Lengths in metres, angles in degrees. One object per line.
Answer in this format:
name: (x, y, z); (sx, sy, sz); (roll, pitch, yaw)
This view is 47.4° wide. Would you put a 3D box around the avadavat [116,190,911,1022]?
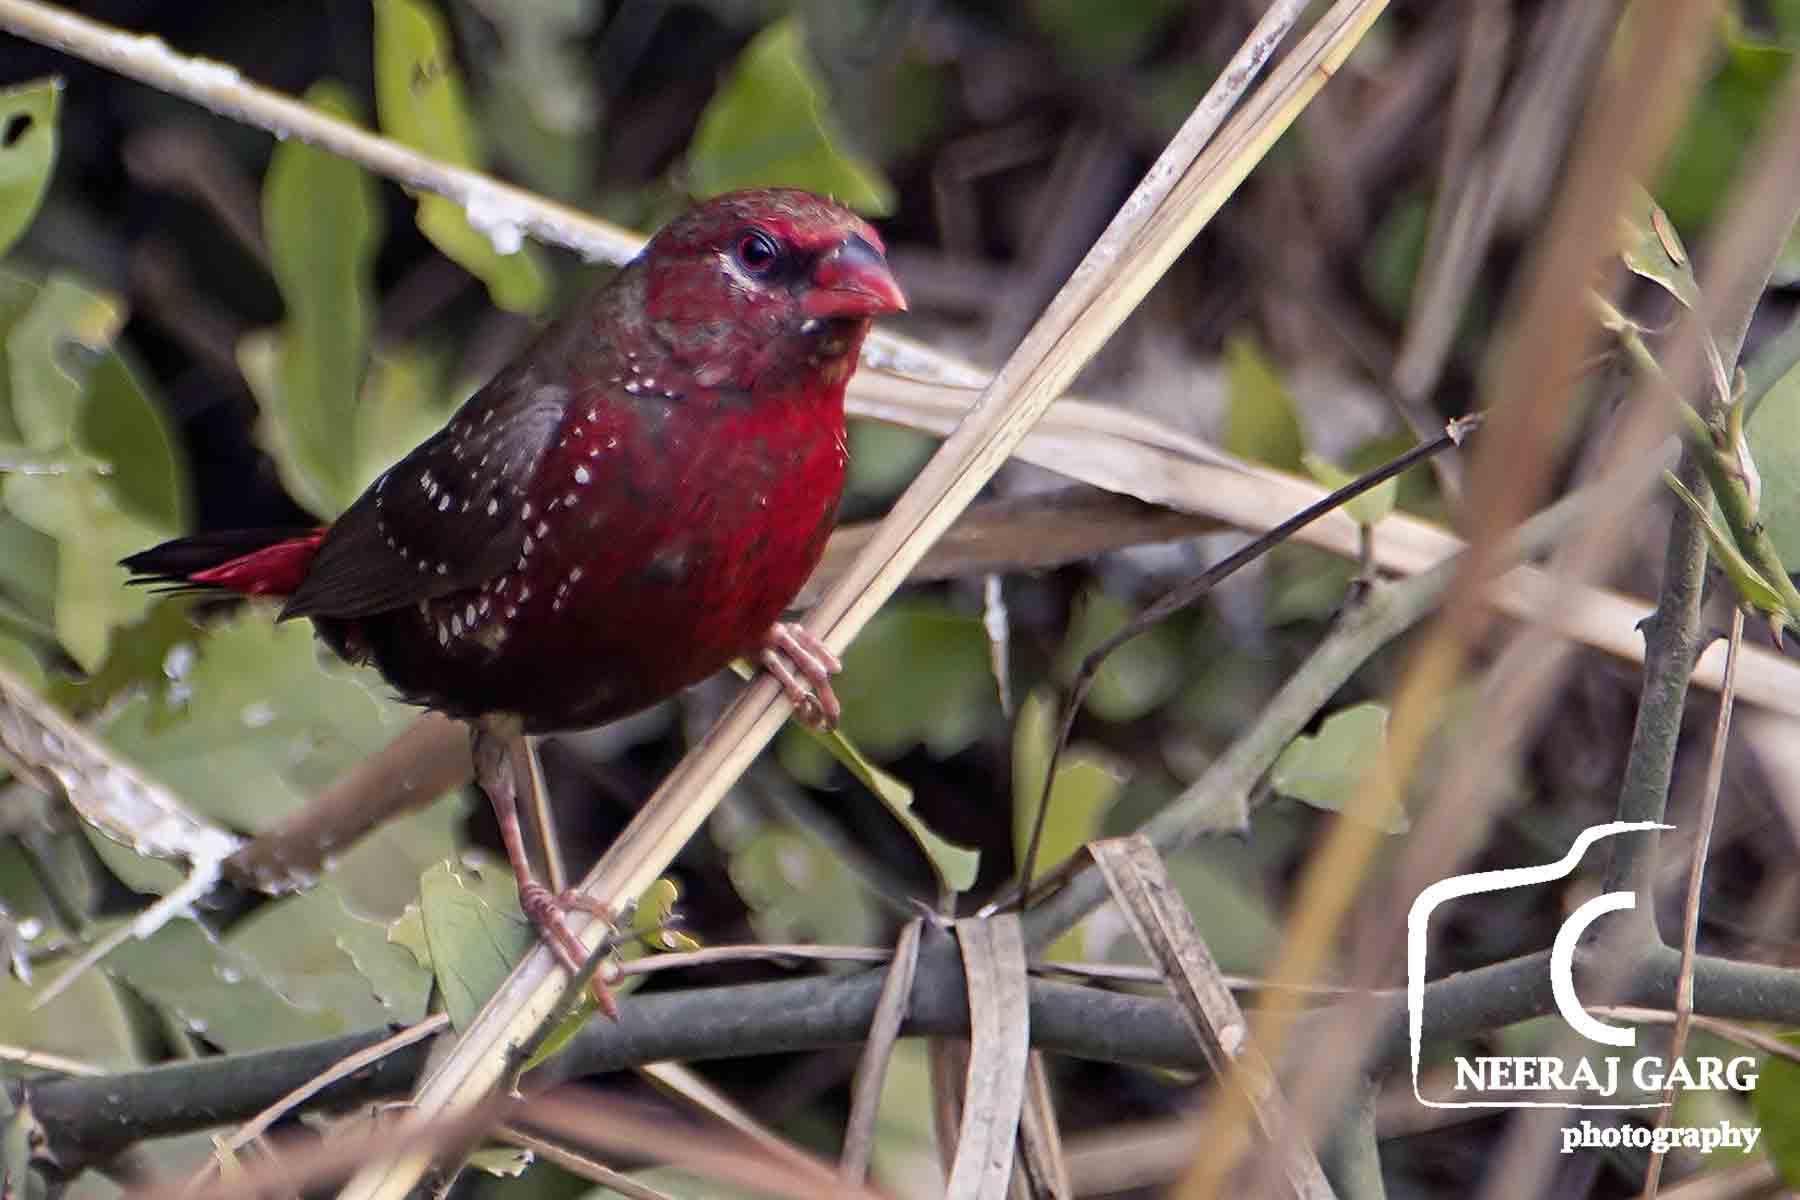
avadavat: (-0.453, 0.021, 3.537); (0.957, 1.264, 1.397); (1, 1, -5)
